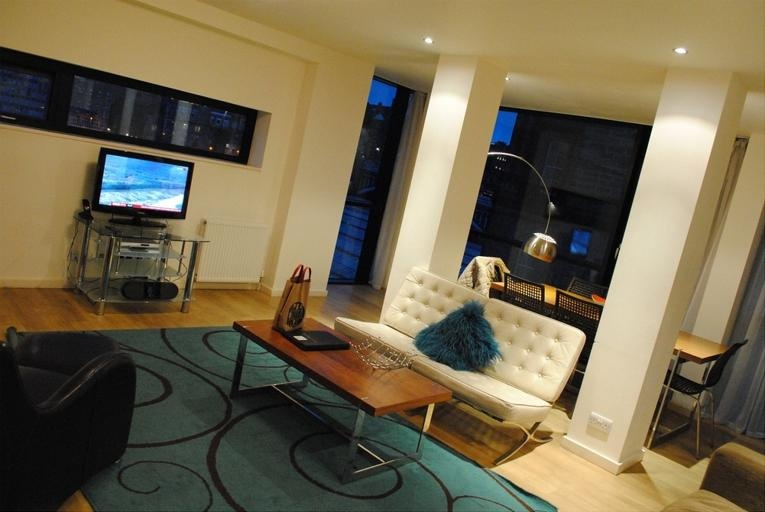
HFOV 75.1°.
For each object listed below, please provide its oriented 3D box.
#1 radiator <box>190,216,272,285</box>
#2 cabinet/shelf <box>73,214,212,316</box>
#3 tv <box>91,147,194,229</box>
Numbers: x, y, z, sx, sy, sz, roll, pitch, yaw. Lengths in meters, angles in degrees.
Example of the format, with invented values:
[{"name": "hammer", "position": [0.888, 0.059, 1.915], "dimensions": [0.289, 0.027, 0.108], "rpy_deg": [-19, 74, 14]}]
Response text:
[{"name": "radiator", "position": [-1.940, -0.086, 6.248], "dimensions": [0.905, 0.765, 0.190], "rpy_deg": [5, 15, -38]}, {"name": "cabinet/shelf", "position": [-2.665, 0.070, 5.392], "dimensions": [1.229, 0.950, 0.942], "rpy_deg": [1, 14, -31]}, {"name": "tv", "position": [-2.637, -0.741, 5.388], "dimensions": [0.962, 0.640, 0.277], "rpy_deg": [6, 10, -39]}]
